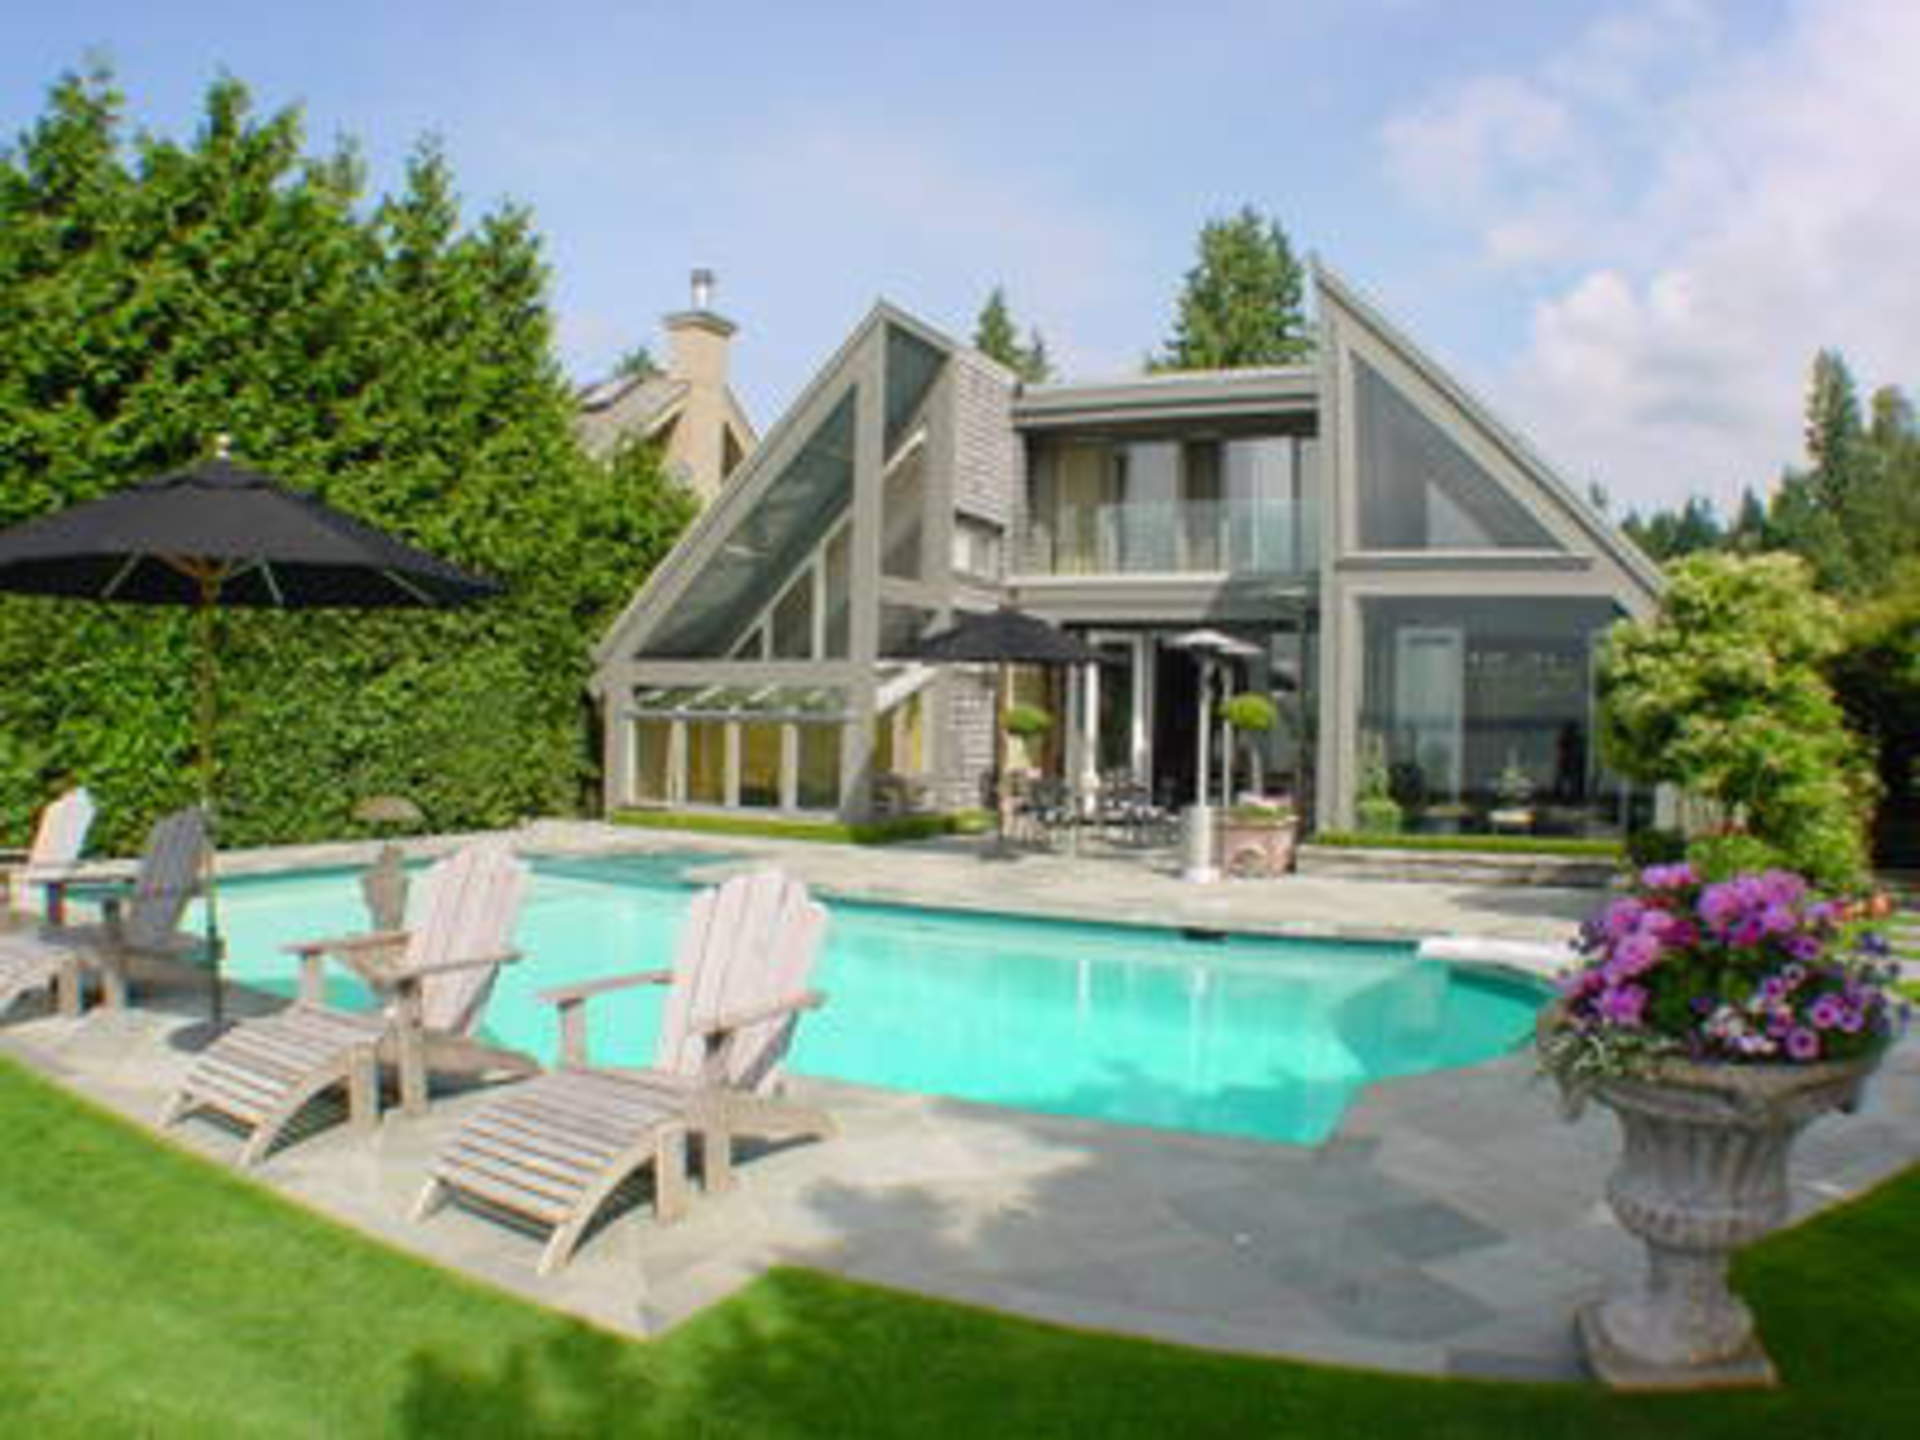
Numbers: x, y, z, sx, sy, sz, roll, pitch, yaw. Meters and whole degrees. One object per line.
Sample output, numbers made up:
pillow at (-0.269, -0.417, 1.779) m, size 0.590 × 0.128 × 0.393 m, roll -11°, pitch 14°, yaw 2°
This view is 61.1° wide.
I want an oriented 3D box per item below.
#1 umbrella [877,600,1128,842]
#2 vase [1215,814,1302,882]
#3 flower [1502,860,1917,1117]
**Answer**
umbrella at (0.424, -0.034, 22.057) m, size 2.862 × 3.088 × 2.872 m, roll 0°, pitch 2°, yaw -3°
vase at (3.662, 1.541, 19.923) m, size 0.614 × 0.784 × 1.103 m, roll 4°, pitch 3°, yaw 38°
flower at (3.681, 1.214, 7.811) m, size 1.361 × 1.000 × 1.315 m, roll -13°, pitch 24°, yaw -31°
